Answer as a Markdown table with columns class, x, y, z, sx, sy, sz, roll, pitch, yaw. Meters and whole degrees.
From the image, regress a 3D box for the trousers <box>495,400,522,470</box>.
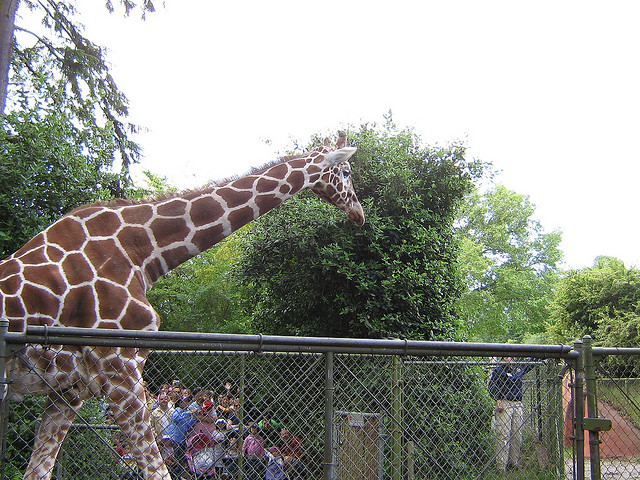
| class | x | y | z | sx | sy | sz | roll | pitch | yaw |
| --- | --- | --- | --- | --- | --- | --- | --- | --- | --- |
| trousers | 2.047 | 2.034 | 6.587 | 0.286 | 1.012 | 0.233 | -7 | -59 | 18 |

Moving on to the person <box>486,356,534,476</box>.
| class | x | y | z | sx | sy | sz | roll | pitch | yaw |
| --- | --- | --- | --- | --- | --- | --- | --- | --- | --- |
| person | 1.939 | 1.839 | 6.336 | 0.385 | 1.066 | 4.126 | 1 | -15 | 17 |
